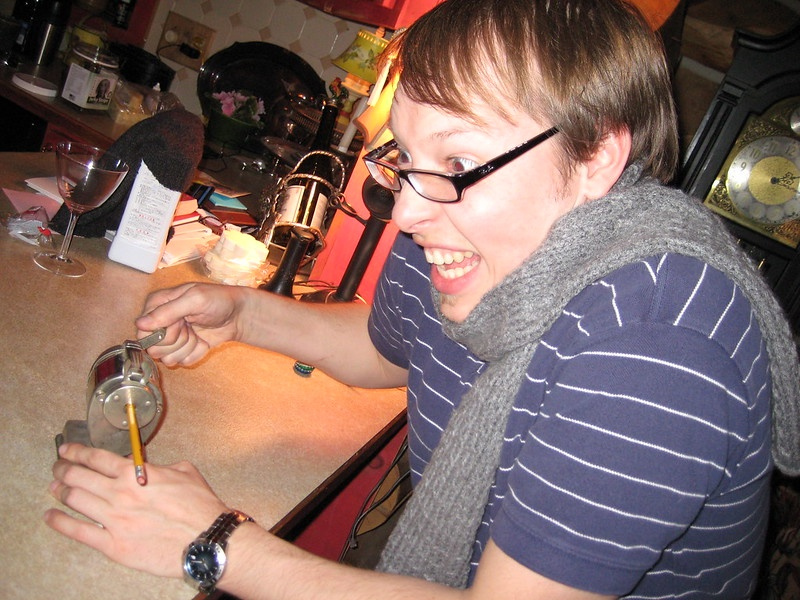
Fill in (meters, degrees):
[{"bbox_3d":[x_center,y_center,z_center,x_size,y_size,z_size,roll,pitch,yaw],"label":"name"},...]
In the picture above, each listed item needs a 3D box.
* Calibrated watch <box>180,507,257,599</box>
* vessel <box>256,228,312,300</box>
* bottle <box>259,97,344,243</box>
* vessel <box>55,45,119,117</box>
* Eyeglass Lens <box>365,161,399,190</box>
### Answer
[{"bbox_3d":[-0.257,0.350,0.914,0.057,0.091,0.114,32,30,7],"label":"Calibrated watch"},{"bbox_3d":[-0.275,-0.082,1.570,0.098,0.171,0.096,-3,-30,38],"label":"vessel"},{"bbox_3d":[-0.221,-0.321,1.637,0.167,0.438,0.129,16,-1,2],"label":"bottle"},{"bbox_3d":[-1.258,-0.906,2.580,0.205,0.267,0.198,22,13,11],"label":"vessel"},{"bbox_3d":[-0.031,-0.213,1.118,0.067,0.023,0.069,31,18,24],"label":"Eyeglass Lens"}]
